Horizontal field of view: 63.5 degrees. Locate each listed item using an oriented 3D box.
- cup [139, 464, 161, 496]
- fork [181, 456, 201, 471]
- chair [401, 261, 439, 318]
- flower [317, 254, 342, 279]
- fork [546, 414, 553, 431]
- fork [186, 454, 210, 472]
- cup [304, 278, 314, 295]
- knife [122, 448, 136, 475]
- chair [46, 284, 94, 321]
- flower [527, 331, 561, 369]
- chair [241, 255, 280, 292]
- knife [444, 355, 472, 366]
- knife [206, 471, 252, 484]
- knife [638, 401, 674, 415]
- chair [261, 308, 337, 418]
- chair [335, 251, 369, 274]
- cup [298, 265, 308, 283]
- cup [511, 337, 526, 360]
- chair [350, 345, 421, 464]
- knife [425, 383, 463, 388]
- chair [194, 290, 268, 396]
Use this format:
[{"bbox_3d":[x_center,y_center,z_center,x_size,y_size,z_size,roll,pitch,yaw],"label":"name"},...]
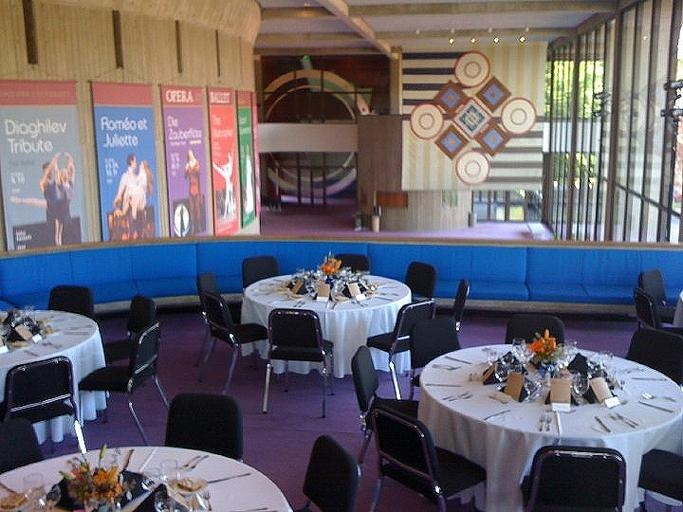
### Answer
[{"bbox_3d":[-1.069,1.249,3.098,0.128,0.160,0.120,3,9,-1],"label":"cup"},{"bbox_3d":[-0.879,1.219,3.234,0.038,0.008,0.132,4,4,9],"label":"fork"},{"bbox_3d":[0.995,0.357,6.887,0.401,0.807,0.449,5,6,36],"label":"chair"},{"bbox_3d":[-0.119,0.124,6.358,0.247,0.418,0.276,1,5,23],"label":"flower"},{"bbox_3d":[1.340,1.074,3.544,0.029,0.024,0.171,-4,24,13],"label":"fork"},{"bbox_3d":[-0.868,1.218,3.238,0.044,0.009,0.150,3,6,8],"label":"fork"},{"bbox_3d":[-0.360,0.340,6.053,0.089,0.136,0.134,0,-7,0],"label":"cup"},{"bbox_3d":[-1.270,1.217,3.276,0.028,0.023,0.132,21,31,-3],"label":"knife"},{"bbox_3d":[-2.892,0.478,5.893,0.348,0.565,0.425,0,4,-11],"label":"chair"},{"bbox_3d":[1.476,0.681,4.076,0.246,0.332,0.271,1,8,17],"label":"flower"},{"bbox_3d":[-1.090,0.182,7.362,0.406,0.777,0.418,-4,8,-25],"label":"chair"},{"bbox_3d":[0.951,0.844,4.440,0.201,0.042,0.063,11,27,34],"label":"knife"},{"bbox_3d":[-0.630,1.252,3.096,0.241,0.015,0.048,-3,8,-19],"label":"knife"},{"bbox_3d":[2.121,1.029,3.704,0.016,0.036,0.315,28,-6,-15],"label":"knife"},{"bbox_3d":[-0.429,1.066,5.523,0.620,1.228,0.706,2,25,5],"label":"chair"},{"bbox_3d":[0.199,0.074,7.349,0.248,0.404,0.304,5,9,15],"label":"chair"},{"bbox_3d":[-0.470,0.224,6.585,0.126,0.152,0.252,6,10,-2],"label":"cup"},{"bbox_3d":[1.332,0.690,4.066,0.112,0.196,0.111,-1,1,0],"label":"cup"},{"bbox_3d":[0.339,1.198,4.436,0.604,1.100,0.656,1,17,11],"label":"chair"},{"bbox_3d":[0.752,0.956,4.046,0.284,0.017,0.081,-1,15,4],"label":"knife"},{"bbox_3d":[-1.226,1.012,6.134,0.735,1.277,0.678,-7,15,-37],"label":"chair"}]
